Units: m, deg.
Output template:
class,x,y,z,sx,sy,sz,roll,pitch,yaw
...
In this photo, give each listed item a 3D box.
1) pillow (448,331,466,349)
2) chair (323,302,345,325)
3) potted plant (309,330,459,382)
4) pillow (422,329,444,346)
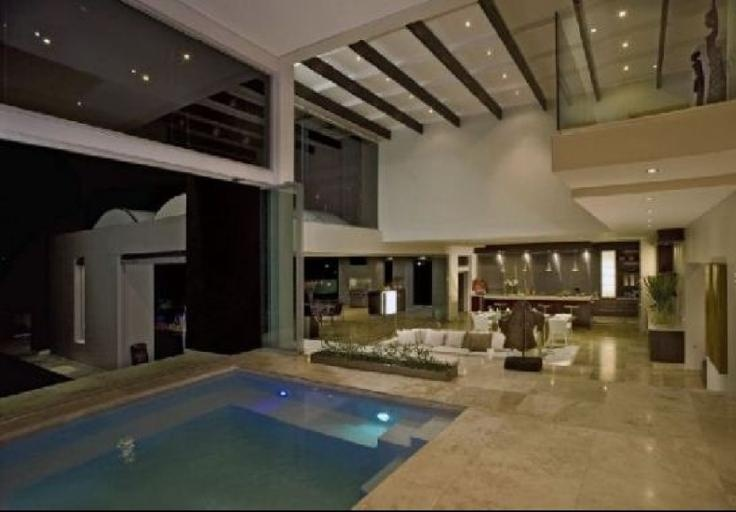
class,x,y,z,sx,sy,sz,roll,pitch,yaw
pillow,2.054,1.961,11.527,0.311,0.324,0.122,3,-15,27
chair,-1.493,2.266,19.661,0.732,0.914,0.712,0,-2,23
potted plant,0.299,1.903,9.070,2.673,0.633,0.788,-6,-6,23
pillow,1.593,1.939,11.873,0.568,0.540,0.311,-1,-20,21
